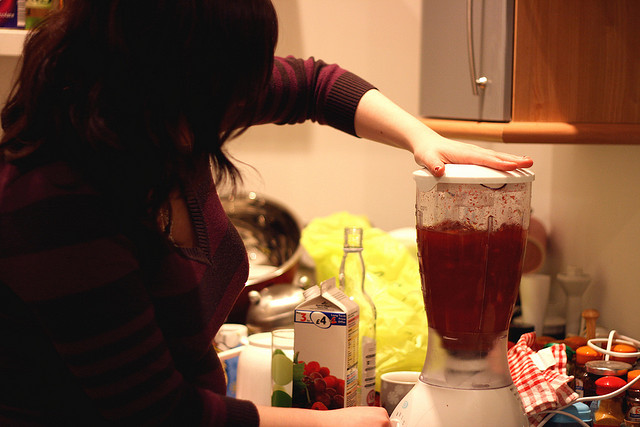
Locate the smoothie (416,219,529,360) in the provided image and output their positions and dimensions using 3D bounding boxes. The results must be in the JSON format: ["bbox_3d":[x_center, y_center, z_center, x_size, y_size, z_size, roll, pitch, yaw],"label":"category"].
[{"bbox_3d":[0.309,0.119,1.125,0.229,0.361,0.236,3,5,19],"label":"smoothie"}]

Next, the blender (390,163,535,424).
[{"bbox_3d":[0.254,0.151,0.968,0.279,0.471,0.185,-4,12,8],"label":"blender"}]

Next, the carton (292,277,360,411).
[{"bbox_3d":[0.008,0.257,1.027,0.115,0.249,0.116,-1,13,22],"label":"carton"}]
